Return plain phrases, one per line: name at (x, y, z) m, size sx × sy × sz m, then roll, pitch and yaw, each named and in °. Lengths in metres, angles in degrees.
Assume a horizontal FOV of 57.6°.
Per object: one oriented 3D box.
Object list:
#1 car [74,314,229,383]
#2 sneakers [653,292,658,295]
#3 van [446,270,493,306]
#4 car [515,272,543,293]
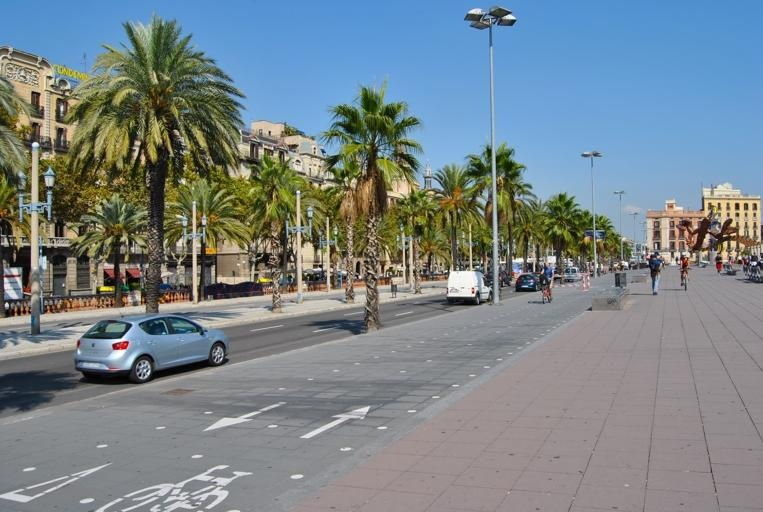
car at (-6.649, 2.452, 20.802) m, size 1.860 × 1.353 × 3.793 m, roll -1°, pitch 0°, yaw 35°
sneakers at (16.043, 2.176, 40.733) m, size 0.286 × 0.108 × 0.182 m, roll 5°, pitch -5°, yaw 0°
van at (5.411, 1.808, 41.781) m, size 1.508 × 1.448 × 2.865 m, roll 0°, pitch 2°, yaw 29°
car at (11.407, 2.066, 53.381) m, size 1.410 × 1.044 × 3.050 m, roll 0°, pitch 2°, yaw 19°
